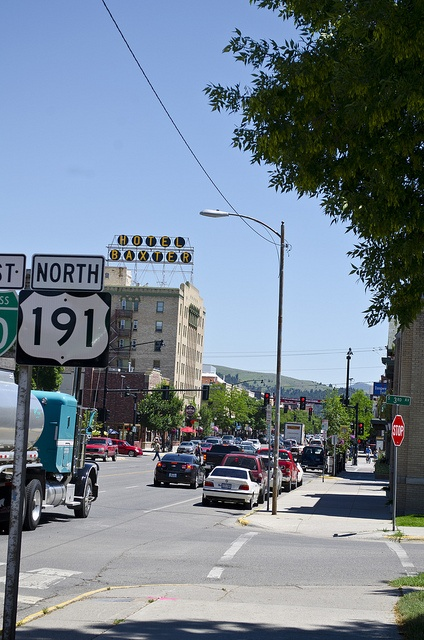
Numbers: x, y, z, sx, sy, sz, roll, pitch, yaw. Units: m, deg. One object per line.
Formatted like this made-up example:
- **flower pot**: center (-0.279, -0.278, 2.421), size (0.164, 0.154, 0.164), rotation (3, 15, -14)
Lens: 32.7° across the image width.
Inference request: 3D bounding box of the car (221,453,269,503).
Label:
- **car**: center (1.414, 5.529, 26.548), size (1.036, 1.190, 2.372), rotation (0, -1, 10)

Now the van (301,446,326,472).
- **van**: center (7.333, 9.990, 52.687), size (1.465, 1.645, 2.387), rotation (3, -8, 5)

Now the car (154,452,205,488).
- **car**: center (-1.383, 6.205, 29.743), size (1.821, 1.403, 1.690), rotation (4, -8, 0)

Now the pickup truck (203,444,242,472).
- **pickup truck**: center (0.330, 7.019, 37.214), size (1.057, 0.999, 2.260), rotation (0, -1, 12)

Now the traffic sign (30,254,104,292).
- **traffic sign**: center (-1.060, -0.347, 5.391), size (0.567, 0.364, 0.040), rotation (1, -19, -3)

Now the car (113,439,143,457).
- **car**: center (-7.354, 11.218, 63.595), size (2.616, 1.229, 1.297), rotation (3, -2, 8)
